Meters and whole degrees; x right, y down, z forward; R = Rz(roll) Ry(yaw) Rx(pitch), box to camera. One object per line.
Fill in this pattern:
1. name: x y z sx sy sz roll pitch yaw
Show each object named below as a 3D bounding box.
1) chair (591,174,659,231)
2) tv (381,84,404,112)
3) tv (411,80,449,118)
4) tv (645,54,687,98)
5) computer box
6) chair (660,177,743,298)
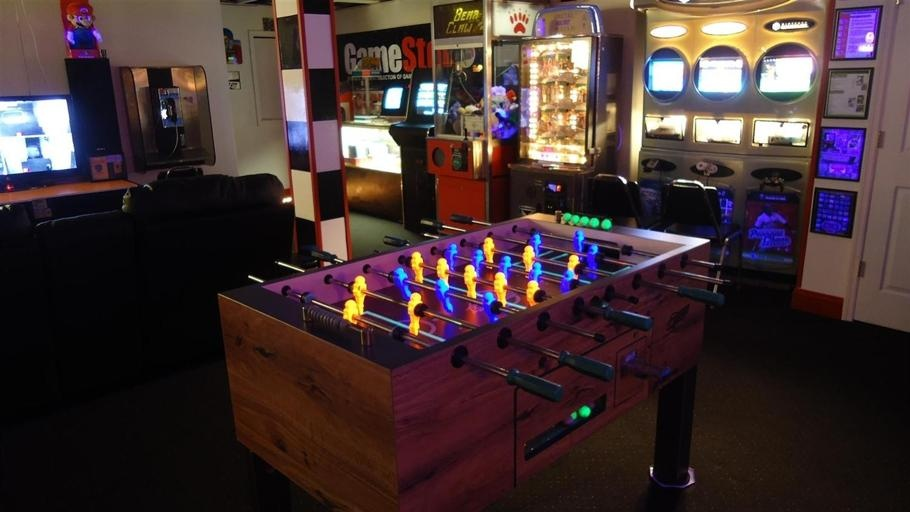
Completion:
1. chair: 1.812 -0.611 6.547 0.670 0.529 0.312 7 17 21
2. tv: -1.013 -2.597 9.981 0.460 0.388 0.389 10 2 20
3. tv: -0.507 -2.314 8.705 0.748 0.638 0.187 9 -2 37
4. tv: 2.521 -2.144 7.103 0.548 0.581 0.086 7 14 38
5. computer box: -4.223 -1.737 7.187 0.727 1.596 0.721 -18 30 -40
6. chair: 2.753 -0.242 6.779 0.801 1.260 1.147 8 18 24
